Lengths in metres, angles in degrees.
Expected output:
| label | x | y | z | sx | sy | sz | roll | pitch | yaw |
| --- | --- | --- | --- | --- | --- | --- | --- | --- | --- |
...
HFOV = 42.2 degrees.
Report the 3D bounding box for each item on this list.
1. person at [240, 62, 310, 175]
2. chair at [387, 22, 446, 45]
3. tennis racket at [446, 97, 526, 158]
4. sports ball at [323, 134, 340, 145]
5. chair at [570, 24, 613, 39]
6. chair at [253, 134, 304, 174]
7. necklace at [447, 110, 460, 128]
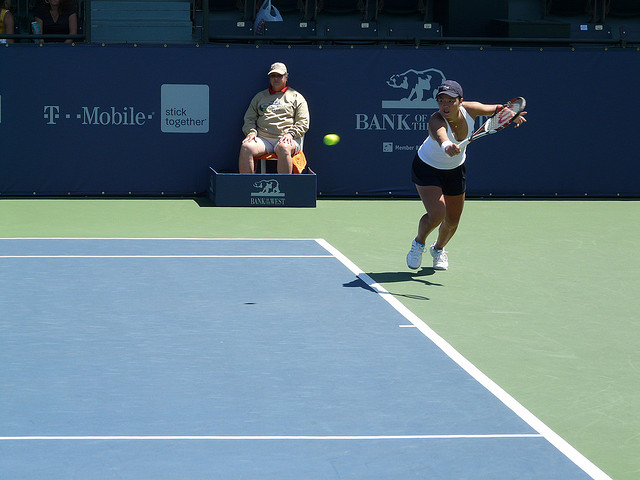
| label | x | y | z | sx | sy | sz | roll | pitch | yaw |
| --- | --- | --- | --- | --- | --- | --- | --- | --- | --- |
| person | -0.655 | -1.745 | 11.751 | 0.932 | 1.530 | 0.760 | 2 | 11 | 7 |
| chair | 1.715 | -3.851 | 15.239 | 0.962 | 0.498 | 1.987 | 1 | 11 | 2 |
| tennis racket | 1.586 | -1.084 | 7.365 | 0.984 | 0.054 | 0.388 | -38 | 22 | 6 |
| sports ball | 0.161 | -1.525 | 12.396 | 0.133 | 0.116 | 0.206 | -7 | -5 | 37 |
| chair | 4.962 | -3.879 | 15.241 | 0.852 | 0.265 | 0.385 | -6 | 13 | -32 |
| chair | -0.550 | -1.280 | 12.174 | 0.644 | 0.869 | 0.538 | 1 | 7 | 17 |
| necklace | 1.168 | -1.091 | 7.332 | 0.138 | 0.128 | 0.033 | -24 | -5 | -43 |
